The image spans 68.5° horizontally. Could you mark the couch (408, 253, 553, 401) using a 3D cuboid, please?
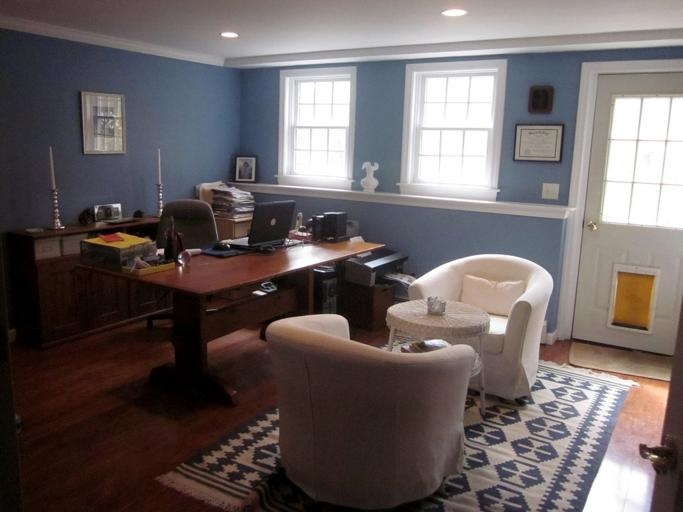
[{"bbox_3d":[1.221,0.451,4.075,1.049,1.139,1.154,-11,14,-42],"label":"couch"}]

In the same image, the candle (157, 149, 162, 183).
[{"bbox_3d":[-1.972,-0.985,5.414,0.058,0.361,0.187,-4,13,-20],"label":"candle"}]

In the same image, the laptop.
[{"bbox_3d":[-0.740,-0.310,4.309,0.409,0.378,0.583,14,14,21],"label":"laptop"}]

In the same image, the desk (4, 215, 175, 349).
[{"bbox_3d":[-2.181,0.223,4.223,0.343,0.712,1.099,5,10,31],"label":"desk"}]

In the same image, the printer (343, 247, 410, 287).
[{"bbox_3d":[0.232,0.165,5.012,0.377,0.236,0.602,11,19,35],"label":"printer"}]

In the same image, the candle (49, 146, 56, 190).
[{"bbox_3d":[-2.599,-0.797,4.499,0.054,0.375,0.282,-6,14,-29],"label":"candle"}]

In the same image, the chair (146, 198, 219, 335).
[{"bbox_3d":[-1.358,0.060,4.389,0.674,0.993,0.670,-9,21,-35],"label":"chair"}]

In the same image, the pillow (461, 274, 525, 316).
[{"bbox_3d":[1.179,0.309,3.901,0.290,0.192,0.080,10,-21,31],"label":"pillow"}]

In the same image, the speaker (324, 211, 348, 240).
[{"bbox_3d":[-0.041,-0.328,4.778,0.227,0.297,0.263,12,18,38],"label":"speaker"}]

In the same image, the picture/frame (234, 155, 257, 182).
[{"bbox_3d":[-1.203,-1.102,6.320,0.329,0.406,0.026,1,4,-2],"label":"picture/frame"}]

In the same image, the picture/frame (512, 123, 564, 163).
[{"bbox_3d":[1.859,-1.072,4.712,0.353,0.303,0.024,12,12,31],"label":"picture/frame"}]

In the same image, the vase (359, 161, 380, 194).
[{"bbox_3d":[0.304,-0.880,5.548,0.203,0.334,0.214,2,12,8],"label":"vase"}]

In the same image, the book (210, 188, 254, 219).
[{"bbox_3d":[-1.258,-0.608,5.764,0.387,0.186,0.476,15,16,28],"label":"book"}]

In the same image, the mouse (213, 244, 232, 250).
[{"bbox_3d":[-0.983,-0.083,4.147,0.100,0.034,0.056,1,11,33],"label":"mouse"}]

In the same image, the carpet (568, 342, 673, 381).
[{"bbox_3d":[2.433,0.911,4.527,0.754,0.010,0.840,8,9,23],"label":"carpet"}]
